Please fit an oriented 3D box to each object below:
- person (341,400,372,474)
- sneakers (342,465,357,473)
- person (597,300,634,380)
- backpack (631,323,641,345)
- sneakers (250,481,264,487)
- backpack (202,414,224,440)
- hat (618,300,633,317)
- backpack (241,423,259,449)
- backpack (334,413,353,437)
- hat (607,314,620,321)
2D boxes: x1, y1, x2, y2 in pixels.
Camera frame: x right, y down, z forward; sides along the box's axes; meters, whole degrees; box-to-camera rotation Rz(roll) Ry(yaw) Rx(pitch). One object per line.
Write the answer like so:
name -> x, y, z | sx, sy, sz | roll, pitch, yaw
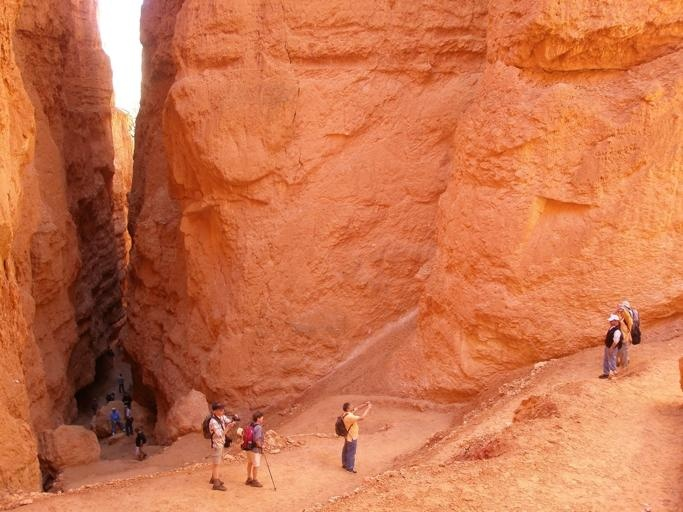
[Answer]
person -> 0.241, 3.195, 12.348 | 0.604, 1.474, 0.559 | -8, 30, -18
sneakers -> 0.123, 3.610, 12.056 | 0.237, 0.167, 0.085 | -4, 4, 7
person -> 4.427, 1.366, 11.592 | 0.891, 1.068, 0.340 | -13, 8, -43
backpack -> 4.815, 1.274, 11.695 | 0.120, 0.341, 0.246 | 2, -8, 4
sneakers -> -1.391, 3.666, 11.510 | 0.171, 0.129, 0.081 | 1, 5, -5
backpack -> -2.056, 2.707, 11.376 | 0.291, 0.538, 0.431 | -3, 11, -12
hat -> 4.682, 0.865, 11.849 | 0.224, 0.295, 0.125 | 16, -21, -10
backpack -> -1.460, 2.857, 11.119 | 0.163, 0.450, 0.290 | -13, 8, -43
backpack -> 0.020, 2.784, 11.764 | 0.304, 0.549, 0.382 | -1, -3, 1
hat -> 4.509, 1.037, 11.892 | 0.151, 0.091, 0.243 | -8, 1, 19
